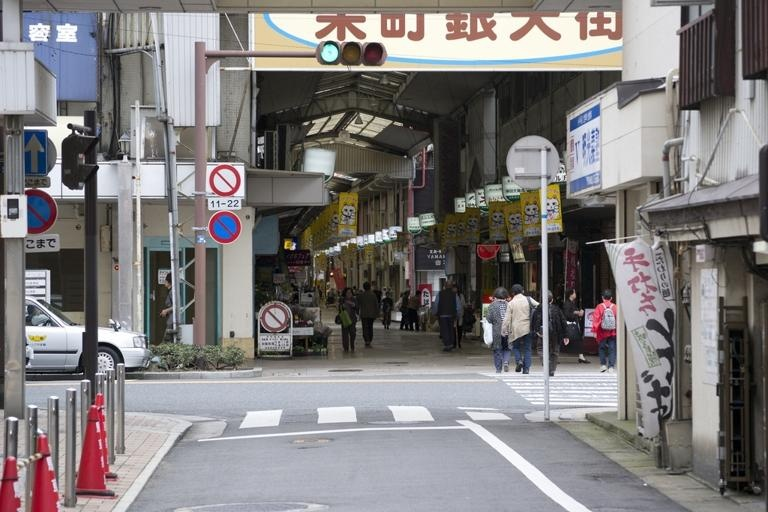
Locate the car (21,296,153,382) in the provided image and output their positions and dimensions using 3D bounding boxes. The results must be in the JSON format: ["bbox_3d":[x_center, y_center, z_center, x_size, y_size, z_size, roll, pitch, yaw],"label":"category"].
[{"bbox_3d":[-6.528,1.671,25.809,3.950,1.488,1.612,0,0,-8],"label":"car"}]

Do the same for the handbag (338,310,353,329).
[{"bbox_3d":[-1.088,1.811,35.822,0.373,0.514,0.152,-23,13,21],"label":"handbag"}]

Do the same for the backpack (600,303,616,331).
[{"bbox_3d":[5.321,1.422,28.561,0.441,0.722,0.389,2,-18,0],"label":"backpack"}]

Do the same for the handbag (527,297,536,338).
[{"bbox_3d":[3.369,1.286,26.955,0.229,0.873,1.058,-2,-5,7],"label":"handbag"}]

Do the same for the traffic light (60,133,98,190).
[{"bbox_3d":[-4.525,-1.431,18.071,0.503,0.824,0.474,-1,-4,-15],"label":"traffic light"}]

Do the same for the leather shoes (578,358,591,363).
[{"bbox_3d":[5.341,2.742,31.982,0.321,0.142,0.123,3,2,-9],"label":"leather shoes"}]

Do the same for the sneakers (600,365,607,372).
[{"bbox_3d":[5.281,2.666,28.907,0.106,0.152,0.155,6,23,26],"label":"sneakers"}]
